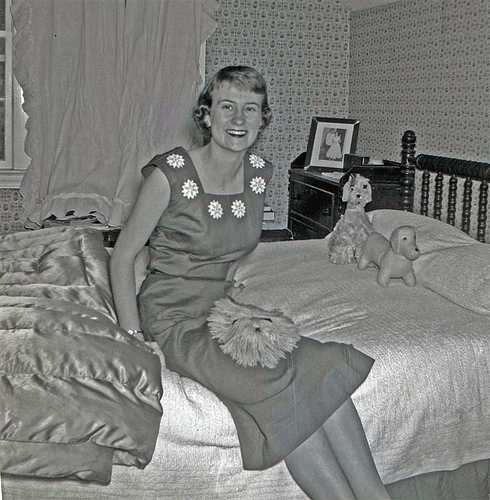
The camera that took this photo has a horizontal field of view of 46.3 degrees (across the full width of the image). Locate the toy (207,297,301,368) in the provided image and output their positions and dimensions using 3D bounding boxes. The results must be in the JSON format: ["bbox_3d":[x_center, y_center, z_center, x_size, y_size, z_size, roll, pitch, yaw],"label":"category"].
[{"bbox_3d":[0.017,0.211,1.399,0.194,0.087,0.241,-6,33,-18],"label":"toy"}]

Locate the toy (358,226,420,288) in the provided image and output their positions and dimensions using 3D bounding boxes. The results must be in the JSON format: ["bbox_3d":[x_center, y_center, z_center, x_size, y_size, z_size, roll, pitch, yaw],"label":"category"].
[{"bbox_3d":[0.494,0.002,1.955,0.116,0.216,0.293,-3,18,-21],"label":"toy"}]
